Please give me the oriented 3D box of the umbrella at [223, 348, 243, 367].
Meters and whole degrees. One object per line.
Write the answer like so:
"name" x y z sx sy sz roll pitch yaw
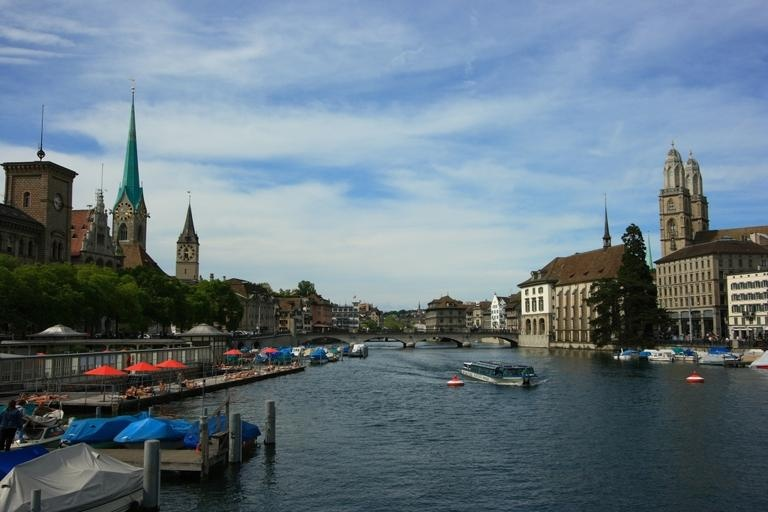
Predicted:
"umbrella" -25.467 16.350 140.282 4.414 2.445 3.530 1 -9 -3

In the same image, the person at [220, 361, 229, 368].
"person" -24.501 16.489 130.951 1.782 0.760 1.485 1 -6 -9

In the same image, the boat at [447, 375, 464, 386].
"boat" 9.644 16.784 116.737 2.022 0.871 1.666 0 -10 -3
